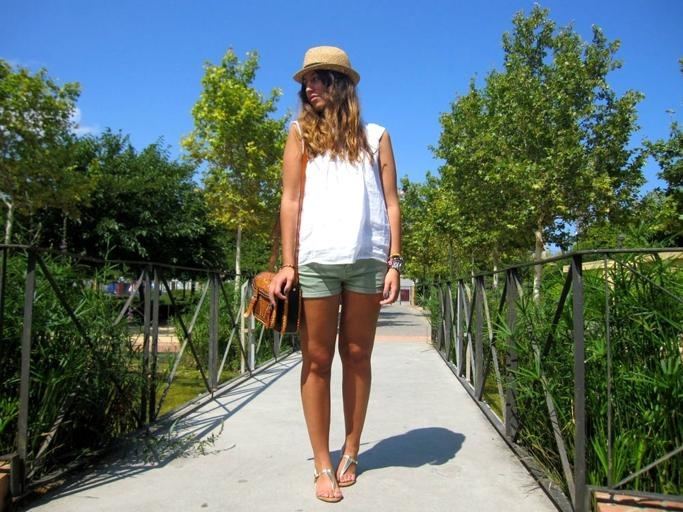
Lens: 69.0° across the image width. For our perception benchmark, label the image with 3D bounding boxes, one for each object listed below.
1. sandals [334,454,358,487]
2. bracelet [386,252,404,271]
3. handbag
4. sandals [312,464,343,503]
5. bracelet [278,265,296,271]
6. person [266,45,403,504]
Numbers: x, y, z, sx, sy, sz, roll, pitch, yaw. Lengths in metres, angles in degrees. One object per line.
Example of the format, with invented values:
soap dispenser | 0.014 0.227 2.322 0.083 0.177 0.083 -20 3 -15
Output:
sandals | 0.035 1.255 2.950 0.099 0.144 0.310 8 -3 12
bracelet | 0.308 0.034 2.873 0.071 0.102 0.090 -3 4 -32
handbag | -0.395 0.204 2.845 0.204 0.429 0.379 1 8 -40
sandals | -0.068 1.249 2.706 0.075 0.100 0.224 1 -11 -10
bracelet | -0.296 0.057 2.740 0.092 0.029 0.046 -1 -3 22
person | -0.014 0.061 2.850 0.713 2.523 0.380 0 -2 5
